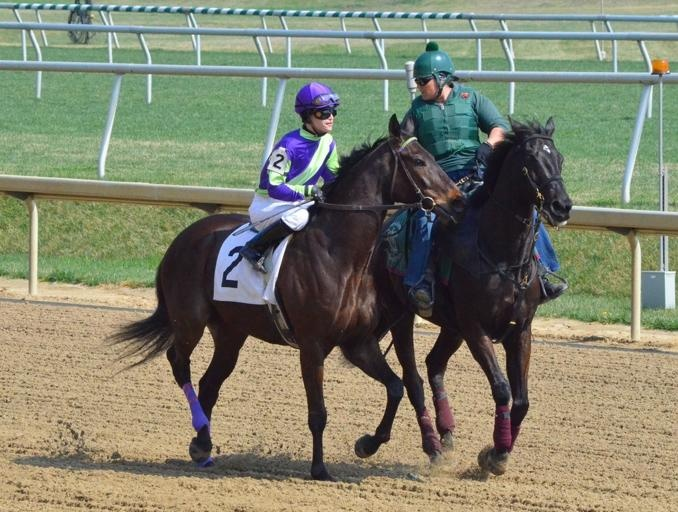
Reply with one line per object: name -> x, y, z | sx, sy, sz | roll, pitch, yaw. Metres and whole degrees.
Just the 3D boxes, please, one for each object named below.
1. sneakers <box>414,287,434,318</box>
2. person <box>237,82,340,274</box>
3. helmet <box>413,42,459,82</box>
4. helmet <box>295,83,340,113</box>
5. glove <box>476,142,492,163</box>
sneakers -> 0.709, 0.395, 12.077 | 0.126, 0.249, 0.233 | -1, -11, 8
person -> -0.400, -0.648, 11.820 | 0.827, 1.483, 0.455 | -2, 10, -1
helmet -> 0.819, -1.655, 12.296 | 0.331, 0.293, 0.268 | 2, 4, -16
helmet -> -0.183, -1.292, 11.807 | 0.296, 0.187, 0.225 | -2, 8, 28
glove -> 1.223, -0.869, 12.172 | 0.121, 0.174, 0.091 | 27, 14, 28
